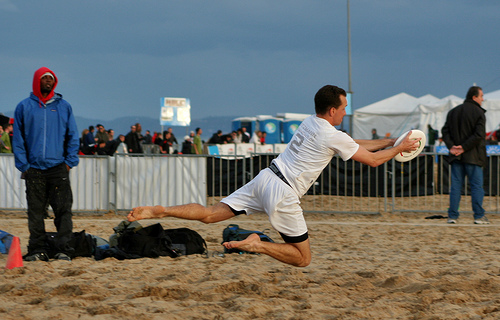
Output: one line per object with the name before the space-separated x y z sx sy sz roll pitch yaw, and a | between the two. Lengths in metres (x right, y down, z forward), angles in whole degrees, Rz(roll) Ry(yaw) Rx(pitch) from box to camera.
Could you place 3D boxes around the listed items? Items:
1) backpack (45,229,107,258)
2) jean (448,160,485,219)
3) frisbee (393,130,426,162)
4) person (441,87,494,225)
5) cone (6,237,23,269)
backpack | -3.183 1.585 16.832 1.097 0.456 0.298 -2 -1 -4
jean | 4.743 0.628 19.381 0.680 1.278 0.562 0 0 3
frisbee | 2.721 -0.242 15.232 0.560 0.571 0.405 0 14 -3
person | 4.787 -0.066 19.471 0.815 2.954 1.096 -8 17 -30
cone | -4.161 1.642 15.645 0.271 0.480 0.326 -4 15 -20
